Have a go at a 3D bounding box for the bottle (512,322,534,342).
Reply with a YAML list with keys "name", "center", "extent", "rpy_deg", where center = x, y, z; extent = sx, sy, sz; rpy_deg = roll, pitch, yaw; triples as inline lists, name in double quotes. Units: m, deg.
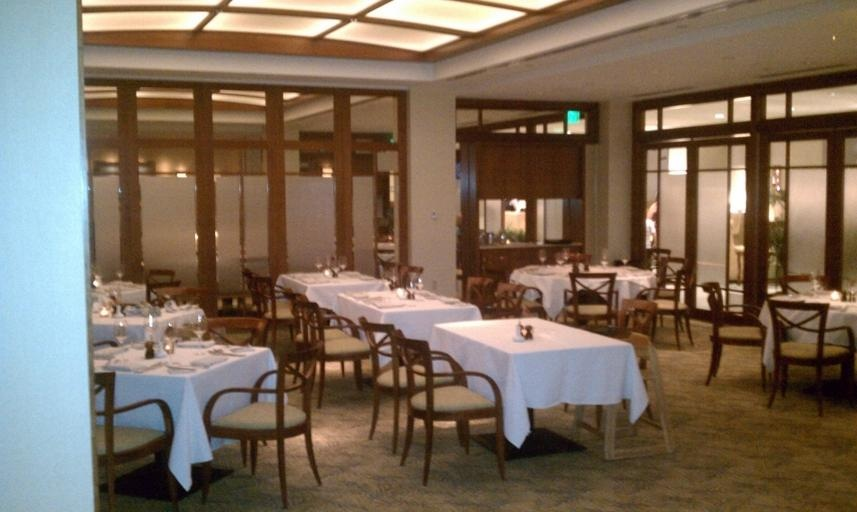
- name: "bottle"
  center: [1.031, 0.822, 7.192]
  extent: [0.200, 0.195, 0.187]
  rpy_deg: [-2, 5, 8]
